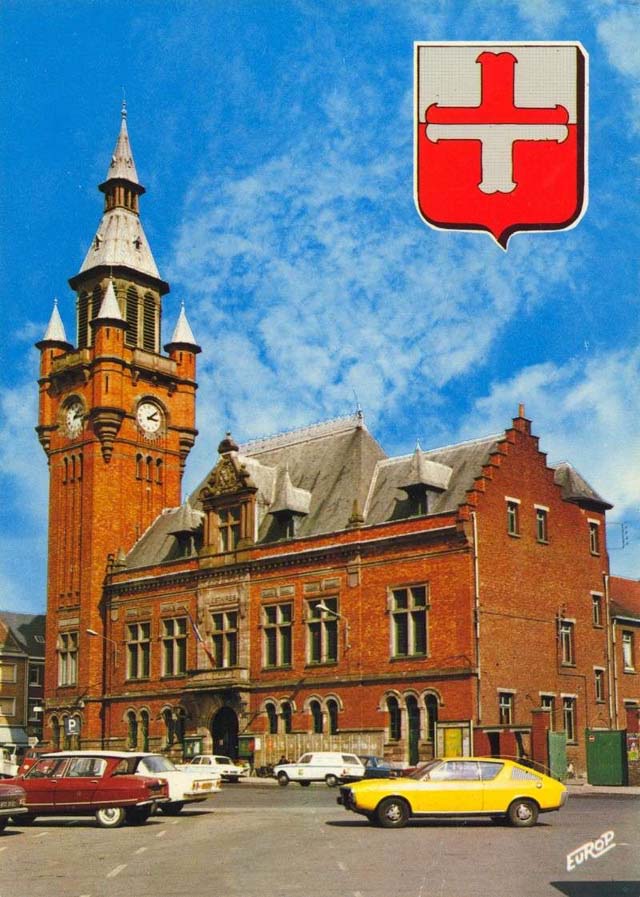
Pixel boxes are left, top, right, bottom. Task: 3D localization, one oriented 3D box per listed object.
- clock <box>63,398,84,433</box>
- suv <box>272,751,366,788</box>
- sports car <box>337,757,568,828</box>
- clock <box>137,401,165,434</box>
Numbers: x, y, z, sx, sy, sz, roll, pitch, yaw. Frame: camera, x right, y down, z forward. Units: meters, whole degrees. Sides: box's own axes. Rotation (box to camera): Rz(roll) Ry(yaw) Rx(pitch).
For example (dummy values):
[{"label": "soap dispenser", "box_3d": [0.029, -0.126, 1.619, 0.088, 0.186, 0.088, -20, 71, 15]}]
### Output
[{"label": "clock", "box_3d": [-11.891, -1.432, 77.302, 0.212, 1.884, 2.096, 6, -17, -29]}, {"label": "suv", "box_3d": [-0.105, 10.871, 53.795, 3.384, 1.221, 2.725, -8, -12, 6]}, {"label": "sports car", "box_3d": [2.888, 7.428, 34.469, 4.618, 1.482, 2.249, 2, -10, -7]}, {"label": "clock", "box_3d": [-8.292, -1.375, 78.318, 0.250, 1.832, 2.081, -10, -17, 25]}]
